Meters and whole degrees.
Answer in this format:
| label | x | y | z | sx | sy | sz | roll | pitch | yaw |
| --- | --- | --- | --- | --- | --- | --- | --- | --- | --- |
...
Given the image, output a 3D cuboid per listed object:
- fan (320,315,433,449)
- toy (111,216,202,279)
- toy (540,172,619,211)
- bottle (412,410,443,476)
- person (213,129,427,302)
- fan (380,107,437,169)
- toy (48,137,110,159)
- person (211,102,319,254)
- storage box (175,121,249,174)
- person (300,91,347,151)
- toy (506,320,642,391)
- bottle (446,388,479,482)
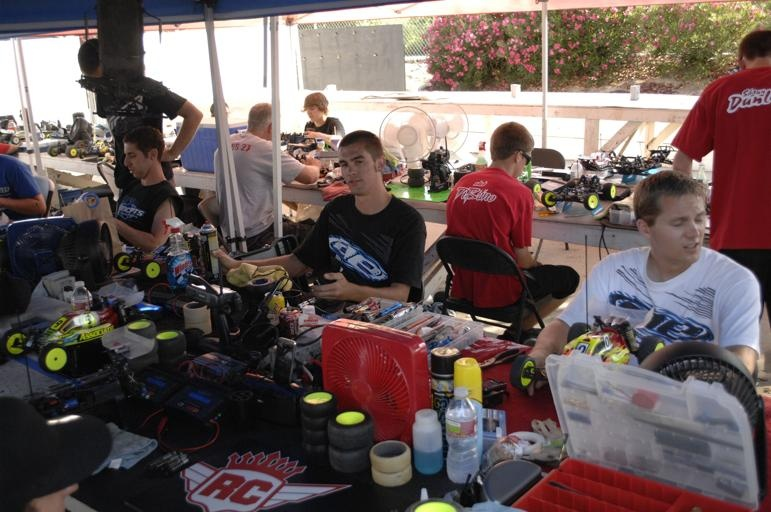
| label | x | y | z | sx | sy | sz | roll | pitch | yaw |
| --- | --- | --- | --- | --- | --- | --- | --- | --- | --- |
| fan | -0.021 | 0.452 | 1.977 | 0.426 | 0.375 | 0.218 | 4 | 8 | 38 |
| toy | -1.316 | -0.084 | 3.346 | 0.523 | 0.250 | 0.337 | -19 | 3 | 38 |
| toy | 1.498 | -0.478 | 4.155 | 0.531 | 0.154 | 0.390 | -20 | 24 | -40 |
| bottle | 0.140 | 0.624 | 1.827 | 0.116 | 0.177 | 0.108 | -3 | -1 | 0 |
| person | -0.219 | -0.231 | 3.198 | 0.637 | 0.970 | 0.797 | -10 | 17 | -35 |
| fan | 0.296 | -1.183 | 5.551 | 0.621 | 0.656 | 0.453 | 22 | 27 | 30 |
| toy | -3.978 | -1.351 | 7.011 | 0.465 | 0.200 | 0.587 | -1 | 4 | -8 |
| person | -1.014 | -0.703 | 4.949 | 0.965 | 1.225 | 0.905 | 5 | 10 | 18 |
| storage box | -2.014 | -1.112 | 5.777 | 0.555 | 0.371 | 0.546 | 4 | 4 | 25 |
| person | -0.841 | -1.609 | 6.925 | 0.613 | 0.825 | 0.545 | 12 | 20 | 39 |
| toy | 0.736 | 0.344 | 1.895 | 0.416 | 0.175 | 0.561 | -1 | 4 | 41 |
| bottle | 0.251 | 0.570 | 1.749 | 0.109 | 0.317 | 0.076 | 2 | 14 | 6 |
